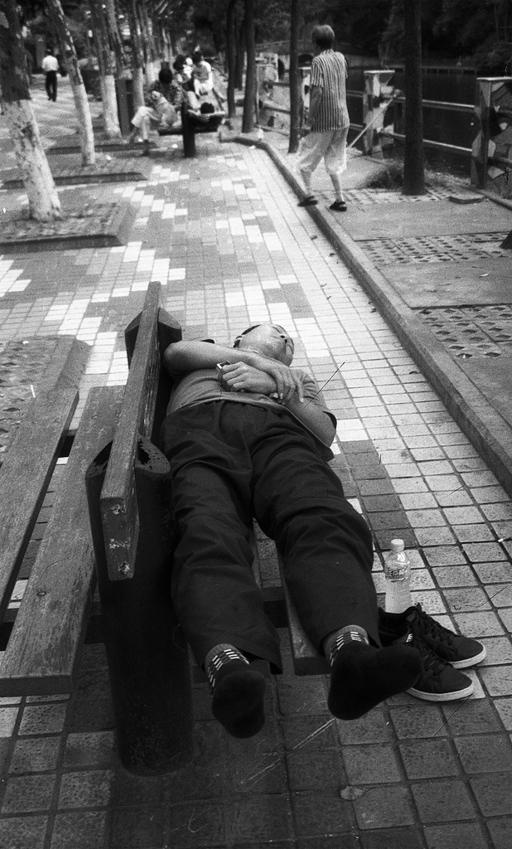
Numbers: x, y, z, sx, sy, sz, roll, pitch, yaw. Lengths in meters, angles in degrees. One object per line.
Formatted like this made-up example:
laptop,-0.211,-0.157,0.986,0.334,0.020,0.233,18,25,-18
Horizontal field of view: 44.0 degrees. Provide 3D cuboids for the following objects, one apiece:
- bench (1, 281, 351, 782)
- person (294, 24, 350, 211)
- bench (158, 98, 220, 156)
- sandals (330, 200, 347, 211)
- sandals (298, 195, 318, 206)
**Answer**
bench,-0.267,0.305,2.042,0.682,0.874,1.842,-4,38,-4
person,0.920,-4.141,8.653,0.651,2.252,0.597,1,24,8
bench,-1.392,-7.545,16.196,1.070,1.197,1.716,-5,26,-6
sandals,1.154,-3.016,8.745,0.103,0.119,0.289,-1,25,-5
sandals,0.754,-3.261,9.306,0.293,0.135,0.141,19,44,40
